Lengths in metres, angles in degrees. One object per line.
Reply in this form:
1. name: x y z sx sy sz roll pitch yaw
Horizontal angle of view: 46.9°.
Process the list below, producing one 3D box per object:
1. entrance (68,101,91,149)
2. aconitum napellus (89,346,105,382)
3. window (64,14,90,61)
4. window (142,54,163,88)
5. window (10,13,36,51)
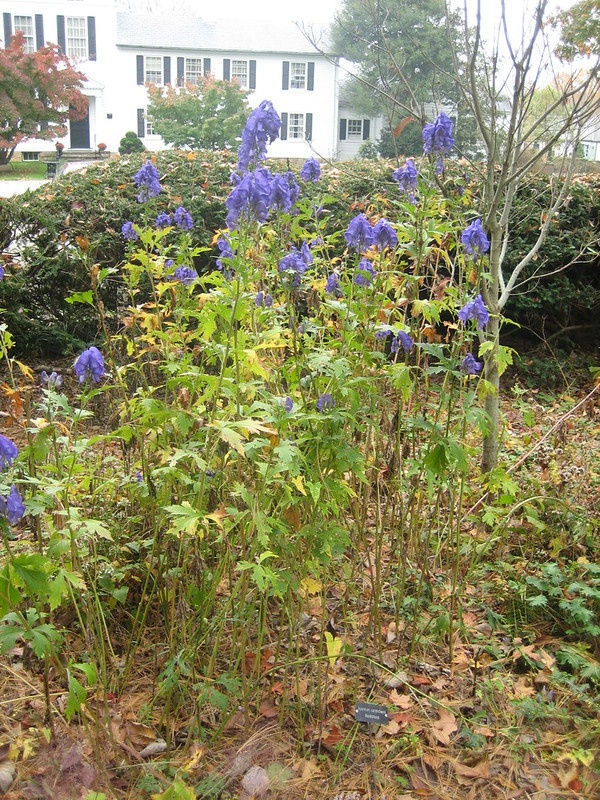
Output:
1. entrance: -12.577 -15.312 39.573 1.096 1.868 0.991 2 10 -18
2. aconitum napellus: -0.710 -0.121 2.399 0.047 0.129 0.148 2 10 -17
3. window: -13.041 -21.234 40.382 1.269 2.140 0.669 2 10 -15
4. window: -8.659 -19.596 40.901 1.164 1.633 0.567 2 11 -17
5. window: -15.642 -21.082 39.643 1.275 1.709 1.448 12 12 35
